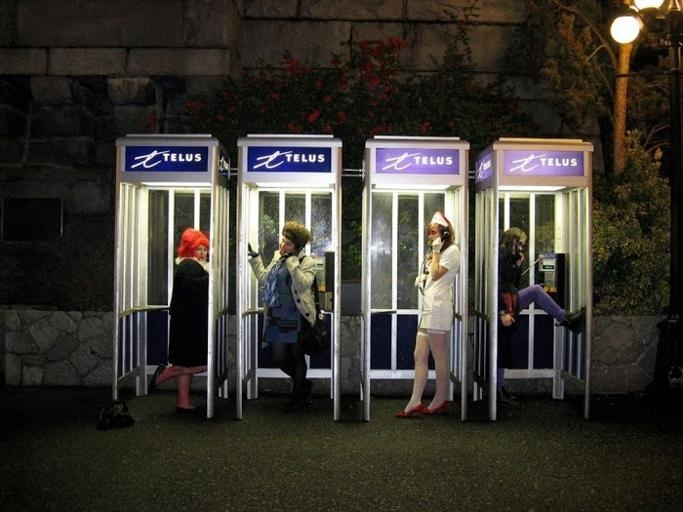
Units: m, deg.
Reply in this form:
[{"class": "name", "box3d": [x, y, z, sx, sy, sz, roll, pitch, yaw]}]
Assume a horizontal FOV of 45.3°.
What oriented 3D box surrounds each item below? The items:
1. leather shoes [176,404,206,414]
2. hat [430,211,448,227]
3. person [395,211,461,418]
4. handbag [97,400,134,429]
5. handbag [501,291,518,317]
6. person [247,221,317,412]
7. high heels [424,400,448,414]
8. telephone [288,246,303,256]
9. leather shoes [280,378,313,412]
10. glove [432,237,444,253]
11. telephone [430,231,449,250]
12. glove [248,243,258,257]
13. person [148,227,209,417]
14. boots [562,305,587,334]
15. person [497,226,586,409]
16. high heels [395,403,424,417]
[{"class": "leather shoes", "box3d": [-1.847, 1.848, 9.985, 0.358, 0.109, 0.137, 0, 2, -2]}, {"class": "hat", "box3d": [1.199, -0.449, 9.927, 0.199, 0.180, 0.161, 11, -5, -43]}, {"class": "person", "box3d": [1.139, 0.708, 9.992, 0.662, 2.485, 0.642, -1, -2, 17]}, {"class": "handbag", "box3d": [-2.631, 1.851, 9.539, 0.423, 0.301, 0.235, 0, -2, -18]}, {"class": "handbag", "box3d": [2.083, 0.584, 10.040, 0.228, 0.288, 0.074, 1, -2, -33]}, {"class": "person", "box3d": [-0.618, 0.716, 9.965, 0.654, 2.265, 0.411, 0, -2, -9]}, {"class": "high heels", "box3d": [1.170, 1.851, 10.001, 0.356, 0.202, 0.126, 3, -3, -6]}, {"class": "telephone", "box3d": [-0.556, -0.058, 10.016, 0.127, 0.130, 0.100, 11, -7, -11]}, {"class": "leather shoes", "box3d": [-0.531, 1.763, 10.133, 0.187, 0.285, 0.576, 0, -7, 19]}, {"class": "glove", "box3d": [1.158, -0.133, 9.824, 0.107, 0.171, 0.157, 1, -6, 19]}, {"class": "telephone", "box3d": [1.197, -0.189, 9.844, 0.206, 0.215, 0.177, 2, 1, 18]}, {"class": "glove", "box3d": [-1.112, -0.082, 10.224, 0.110, 0.172, 0.057, -2, 3, -7]}, {"class": "person", "box3d": [-1.900, 0.788, 9.991, 0.691, 2.257, 0.480, 0, -2, 5]}, {"class": "boots", "box3d": [2.937, 0.789, 10.192, 0.154, 0.331, 0.352, 2, -2, -44]}, {"class": "person", "box3d": [2.435, 0.722, 10.158, 1.139, 2.160, 0.669, -3, -18, 24]}, {"class": "high heels", "box3d": [0.807, 1.863, 9.930, 0.393, 0.203, 0.143, 3, 0, -3]}]
